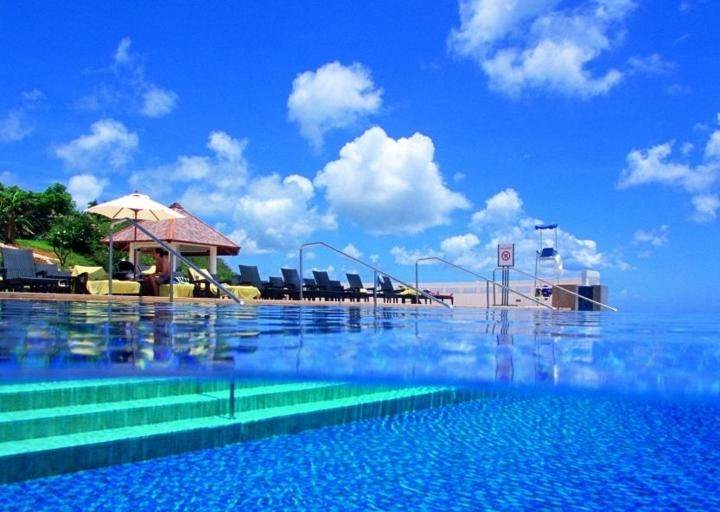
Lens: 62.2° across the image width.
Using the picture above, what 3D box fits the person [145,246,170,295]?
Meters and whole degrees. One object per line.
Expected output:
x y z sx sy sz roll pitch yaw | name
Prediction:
-4.658 0.430 13.653 0.534 1.016 1.032 -3 8 -20 | person

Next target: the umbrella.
-6.122 -0.919 16.337 1.757 1.546 1.905 5 23 -5 | umbrella
